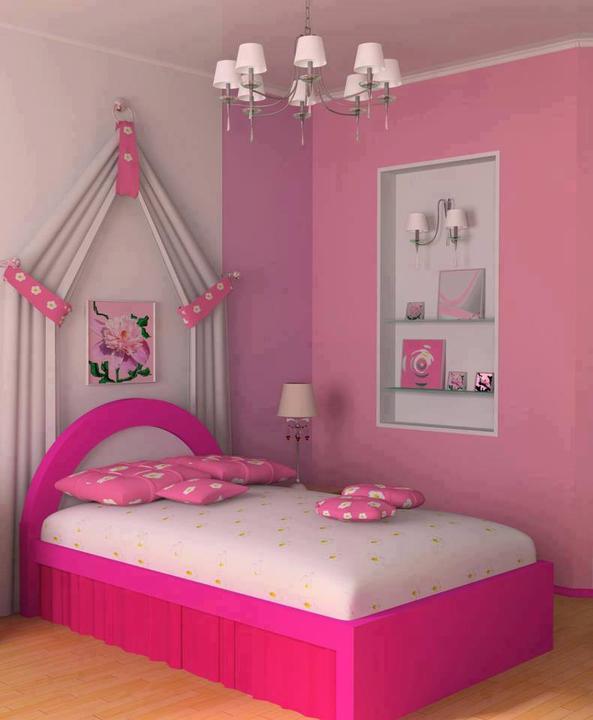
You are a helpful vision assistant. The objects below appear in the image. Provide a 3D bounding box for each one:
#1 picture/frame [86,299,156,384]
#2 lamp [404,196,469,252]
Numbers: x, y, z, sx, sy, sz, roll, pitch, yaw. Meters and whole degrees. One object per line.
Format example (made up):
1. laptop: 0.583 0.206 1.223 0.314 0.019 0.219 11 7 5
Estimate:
1. picture/frame: -1.034 -0.110 3.788 0.066 0.568 0.569 4 3 43
2. lamp: 0.911 -0.897 4.334 0.199 0.279 0.496 -17 6 -40
